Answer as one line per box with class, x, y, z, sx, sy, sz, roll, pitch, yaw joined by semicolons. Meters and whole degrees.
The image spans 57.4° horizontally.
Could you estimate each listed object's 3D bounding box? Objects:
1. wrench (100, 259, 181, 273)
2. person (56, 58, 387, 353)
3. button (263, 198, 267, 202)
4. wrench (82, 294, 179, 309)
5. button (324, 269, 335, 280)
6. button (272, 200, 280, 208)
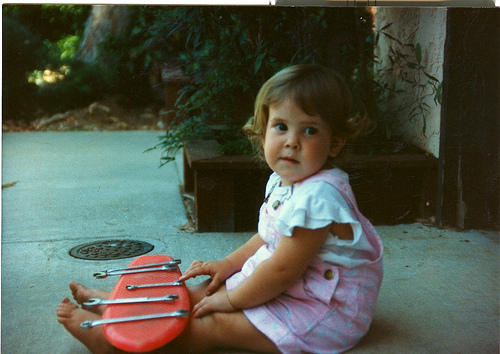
wrench;-0.515;0.432;2.194;0.295;0.022;0.046;-6;4;-7
person;0.158;0.130;2.071;0.854;1.248;0.507;0;1;11
button;0.068;0.112;2.169;0.004;0.015;0.016;4;4;33
wrench;-0.497;0.540;1.970;0.334;0.028;0.055;-2;28;-2
button;0.330;0.407;1.900;0.042;0.043;0.005;0;1;7
button;0.111;0.119;1.991;0.012;0.032;0.023;49;-13;-27
